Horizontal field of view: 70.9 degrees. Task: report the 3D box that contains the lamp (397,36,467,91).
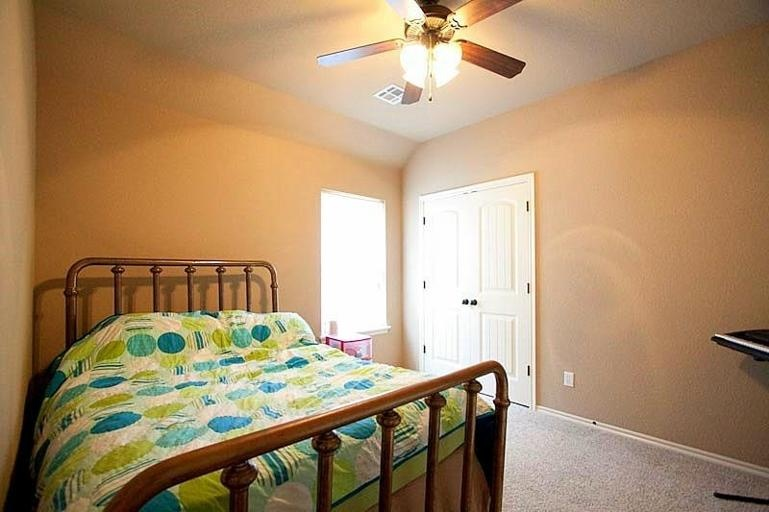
[{"bbox_3d":[0.337,-1.408,3.890,0.412,0.378,0.109,-1,32,1],"label":"lamp"}]
